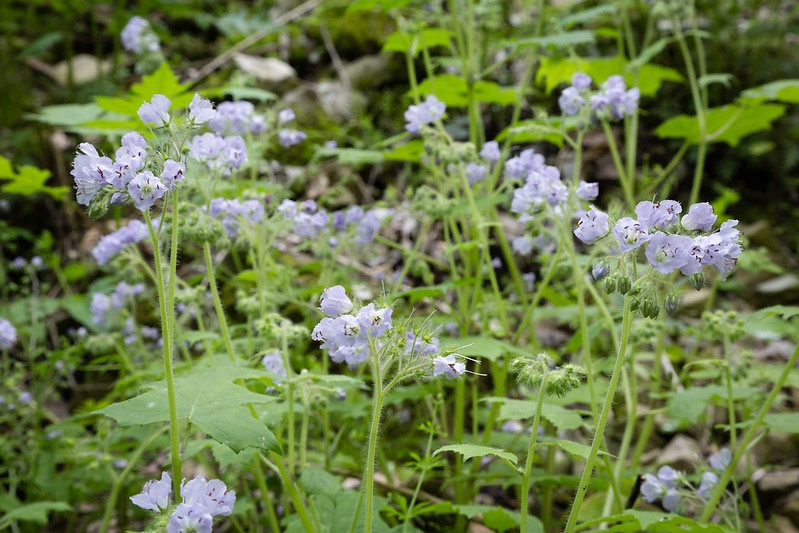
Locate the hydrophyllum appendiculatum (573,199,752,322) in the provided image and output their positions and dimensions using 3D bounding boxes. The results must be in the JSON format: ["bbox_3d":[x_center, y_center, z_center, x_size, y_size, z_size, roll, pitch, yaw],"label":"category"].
[{"bbox_3d":[1.478,-0.119,4.167,0.727,0.842,0.541,-11,-2,9],"label":"hydrophyllum appendiculatum"}]

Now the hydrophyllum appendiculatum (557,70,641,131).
[{"bbox_3d":[1.473,-1.213,5.336,0.439,0.164,0.443,-10,74,2],"label":"hydrophyllum appendiculatum"}]

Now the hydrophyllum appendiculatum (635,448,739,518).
[{"bbox_3d":[1.978,1.533,5.023,0.554,0.563,0.287,-37,30,13],"label":"hydrophyllum appendiculatum"}]
